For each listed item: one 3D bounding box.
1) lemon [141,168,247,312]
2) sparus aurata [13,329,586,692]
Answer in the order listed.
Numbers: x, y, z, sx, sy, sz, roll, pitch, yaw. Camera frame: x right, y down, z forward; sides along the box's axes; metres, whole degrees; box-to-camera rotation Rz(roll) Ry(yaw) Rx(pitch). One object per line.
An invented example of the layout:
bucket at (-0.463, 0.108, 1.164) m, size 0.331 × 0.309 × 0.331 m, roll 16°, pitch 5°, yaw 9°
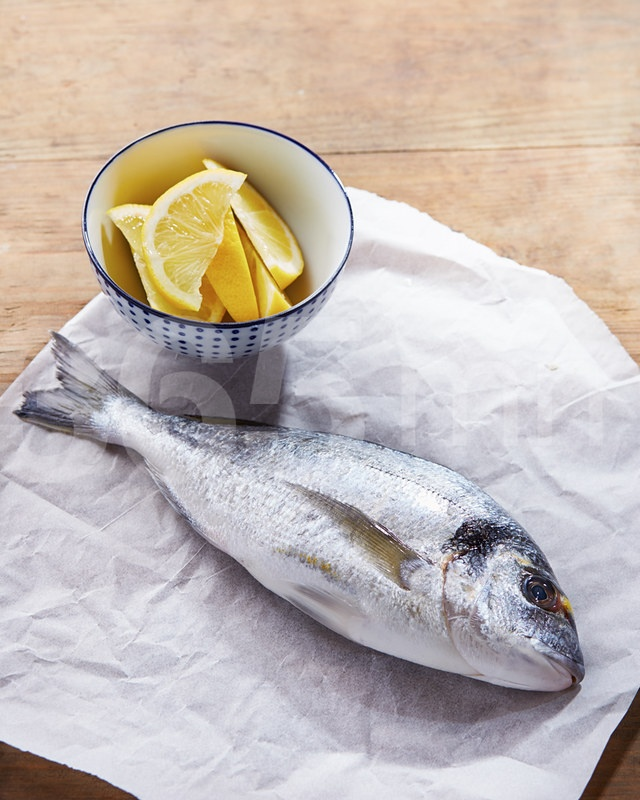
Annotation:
lemon at (-0.175, -0.212, 1.227) m, size 0.099 × 0.079 × 0.185 m, roll 14°, pitch 64°, yaw 1°
sparus aurata at (-0.031, 0.134, 1.198) m, size 0.813 × 0.150 × 0.244 m, roll 24°, pitch 65°, yaw 7°
